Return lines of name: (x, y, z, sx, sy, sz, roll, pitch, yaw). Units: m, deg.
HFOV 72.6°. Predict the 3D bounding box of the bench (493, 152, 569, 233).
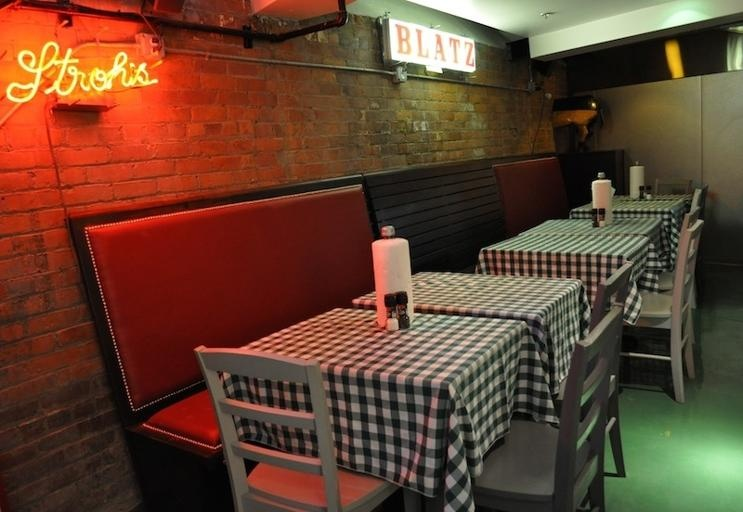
bench: (1.835, -0.695, 5.666, 1.252, 0.751, 0.118, -18, 8, -39)
